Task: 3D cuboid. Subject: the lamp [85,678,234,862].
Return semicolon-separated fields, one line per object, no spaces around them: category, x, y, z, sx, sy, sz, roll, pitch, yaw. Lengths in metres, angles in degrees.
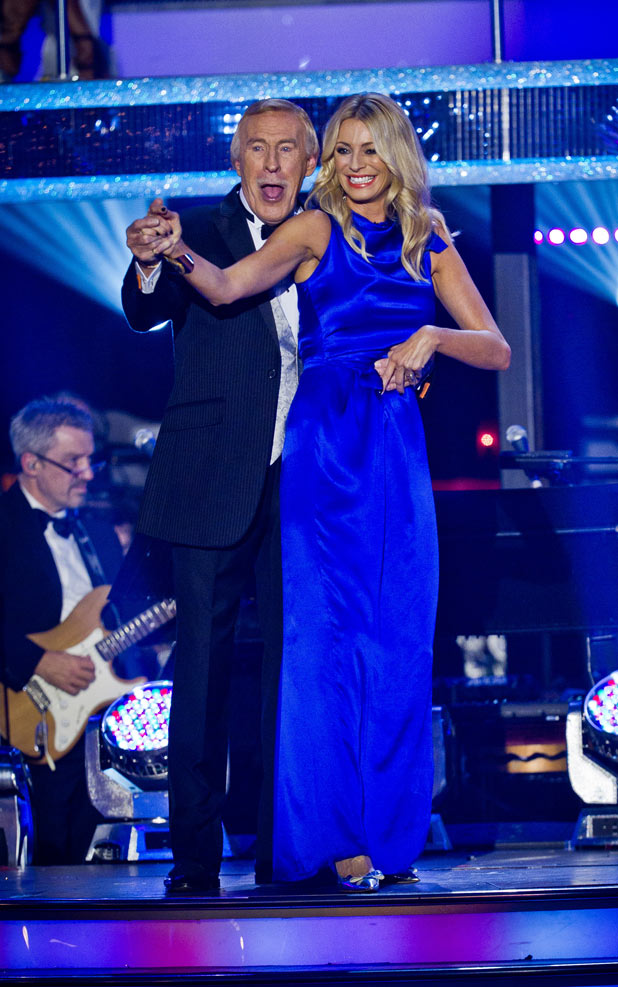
lamp;-0.427;0.782;3.709;0.401;0.473;0.381;-5;0;-3

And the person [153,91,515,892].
person;0.110;-0.014;2.712;0.341;1.618;0.613;-4;0;41

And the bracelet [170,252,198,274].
bracelet;-0.253;-0.452;2.568;0.039;0.041;0.035;-4;0;-34

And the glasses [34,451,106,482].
glasses;-0.798;-0.085;4.293;0.136;0.034;0.129;23;6;22
